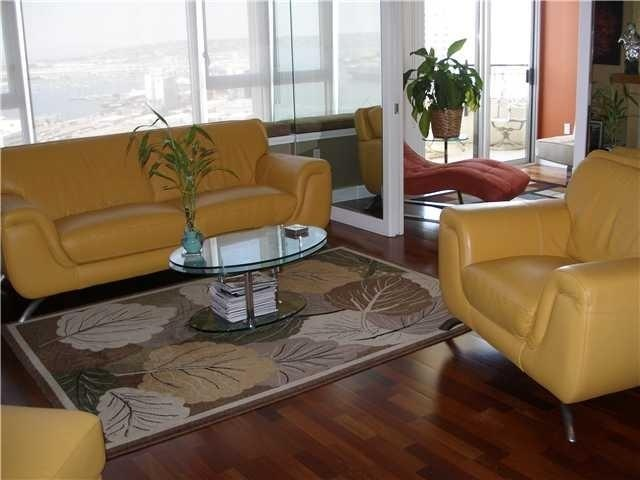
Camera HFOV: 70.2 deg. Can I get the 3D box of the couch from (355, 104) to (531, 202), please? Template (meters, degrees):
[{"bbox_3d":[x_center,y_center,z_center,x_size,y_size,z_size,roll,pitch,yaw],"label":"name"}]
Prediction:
[{"bbox_3d":[1.162,-0.800,4.740,1.585,0.885,0.659,10,16,16],"label":"couch"}]

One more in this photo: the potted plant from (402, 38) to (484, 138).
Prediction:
[{"bbox_3d":[1.394,-1.645,5.156,0.887,1.015,0.824,-4,19,28],"label":"potted plant"}]

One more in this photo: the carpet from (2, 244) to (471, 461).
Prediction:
[{"bbox_3d":[-0.513,0.526,2.862,2.683,0.099,1.659,-12,22,-22],"label":"carpet"}]

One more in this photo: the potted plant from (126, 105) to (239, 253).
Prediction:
[{"bbox_3d":[-0.873,-0.388,3.038,0.744,0.964,0.726,-1,-1,14],"label":"potted plant"}]

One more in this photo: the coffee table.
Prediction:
[{"bbox_3d":[-0.461,0.004,2.839,1.018,0.445,0.679,-15,21,-26],"label":"coffee table"}]

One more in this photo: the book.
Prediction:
[{"bbox_3d":[-0.543,0.343,2.963,0.322,0.130,0.338,-8,11,-40],"label":"book"}]
